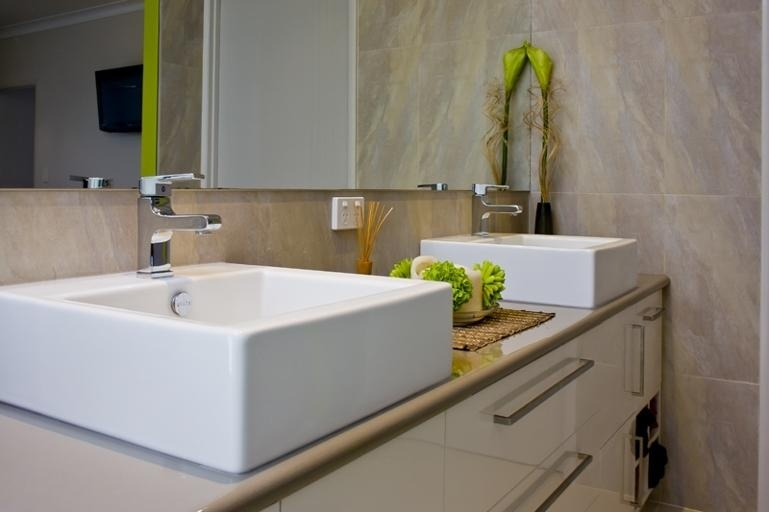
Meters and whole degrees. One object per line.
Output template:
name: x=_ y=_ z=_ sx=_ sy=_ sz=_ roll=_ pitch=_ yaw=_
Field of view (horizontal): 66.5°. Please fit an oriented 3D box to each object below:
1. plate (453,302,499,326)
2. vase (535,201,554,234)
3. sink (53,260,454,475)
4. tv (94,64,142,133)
plate: x=0.242 y=0.157 z=1.553 sx=0.048 sy=0.042 sz=0.152 roll=4 pitch=6 yaw=45
vase: x=0.704 y=-0.168 z=2.583 sx=0.071 sy=0.138 sz=0.120 roll=0 pitch=4 yaw=13
sink: x=-0.273 y=0.174 z=1.101 sx=0.648 sy=0.250 sz=0.531 roll=2 pitch=5 yaw=31
tv: x=-0.593 y=-0.352 z=1.297 sx=0.018 sy=0.142 sz=0.139 roll=12 pitch=16 yaw=42
